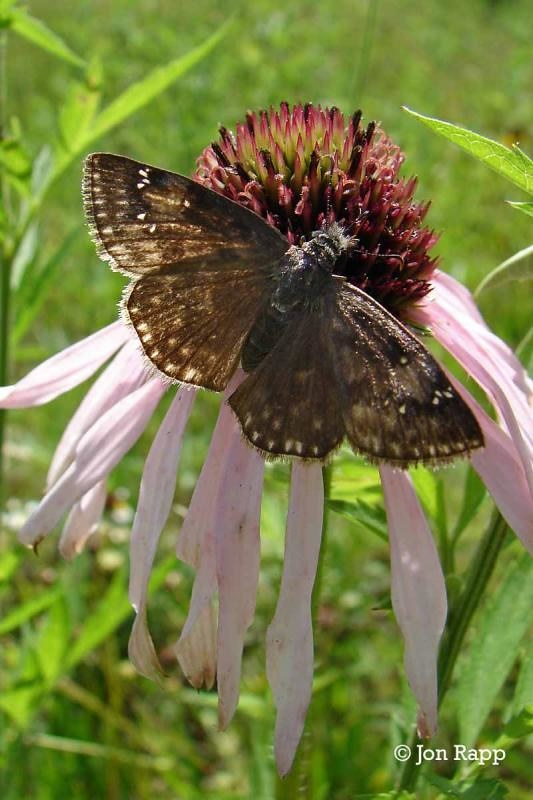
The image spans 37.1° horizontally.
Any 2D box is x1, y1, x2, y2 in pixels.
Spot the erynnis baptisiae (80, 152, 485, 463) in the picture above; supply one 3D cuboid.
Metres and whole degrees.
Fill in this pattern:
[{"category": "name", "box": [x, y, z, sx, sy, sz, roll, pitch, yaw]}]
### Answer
[{"category": "erynnis baptisiae", "box": [0.023, -0.078, 0.680, 0.335, 0.256, 0.137, 1, -1, 19]}]
